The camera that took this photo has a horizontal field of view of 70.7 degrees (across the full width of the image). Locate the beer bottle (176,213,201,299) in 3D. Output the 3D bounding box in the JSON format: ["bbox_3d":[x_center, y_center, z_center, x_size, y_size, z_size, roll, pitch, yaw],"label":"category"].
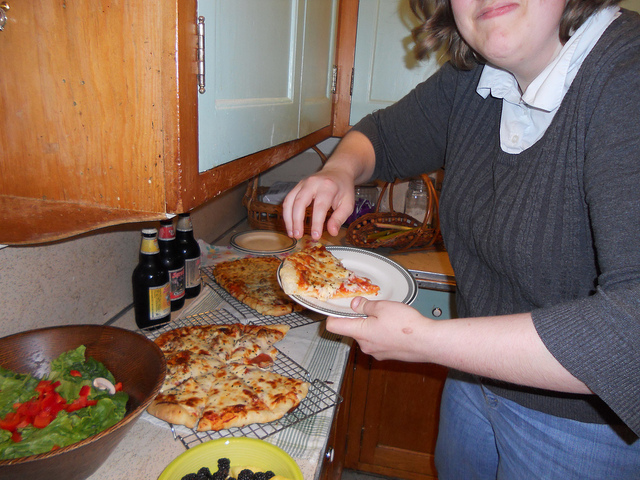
[{"bbox_3d":[-0.474,0.068,1.622,0.085,0.318,0.120,4,18,7],"label":"beer bottle"}]

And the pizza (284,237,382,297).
[{"bbox_3d":[0.022,0.093,1.446,0.316,0.040,0.362,7,20,-9],"label":"pizza"}]

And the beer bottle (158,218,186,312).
[{"bbox_3d":[-0.528,0.078,1.551,0.102,0.345,0.103,6,22,-2],"label":"beer bottle"}]

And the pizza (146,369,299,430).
[{"bbox_3d":[-0.242,0.425,1.188,0.204,0.025,0.214,-3,10,-37],"label":"pizza"}]

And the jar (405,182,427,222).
[{"bbox_3d":[0.571,-0.243,2.687,0.124,0.200,0.211,2,22,12],"label":"jar"}]
